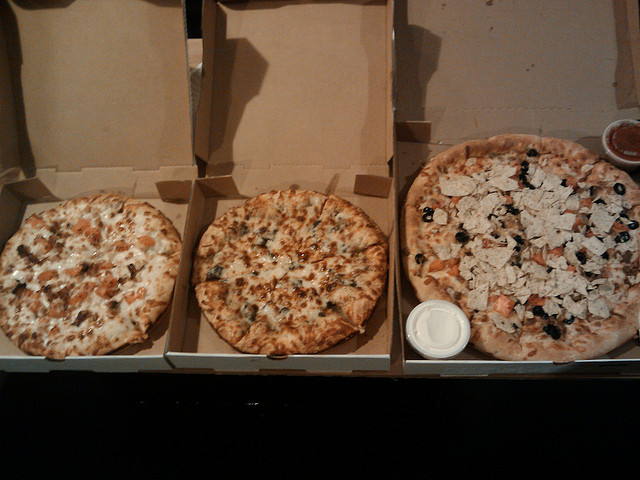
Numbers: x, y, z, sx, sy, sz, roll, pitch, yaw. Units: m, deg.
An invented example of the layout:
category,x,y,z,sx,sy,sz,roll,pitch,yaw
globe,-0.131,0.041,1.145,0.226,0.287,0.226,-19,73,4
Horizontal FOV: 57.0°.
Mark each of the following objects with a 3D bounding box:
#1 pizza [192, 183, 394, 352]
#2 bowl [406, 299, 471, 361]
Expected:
category,x,y,z,sx,sy,sz,roll,pitch,yaw
pizza,-0.153,0.140,2.936,0.976,0.269,0.835,6,62,-2
bowl,0.537,0.402,2.673,0.272,0.071,0.261,2,62,-4
